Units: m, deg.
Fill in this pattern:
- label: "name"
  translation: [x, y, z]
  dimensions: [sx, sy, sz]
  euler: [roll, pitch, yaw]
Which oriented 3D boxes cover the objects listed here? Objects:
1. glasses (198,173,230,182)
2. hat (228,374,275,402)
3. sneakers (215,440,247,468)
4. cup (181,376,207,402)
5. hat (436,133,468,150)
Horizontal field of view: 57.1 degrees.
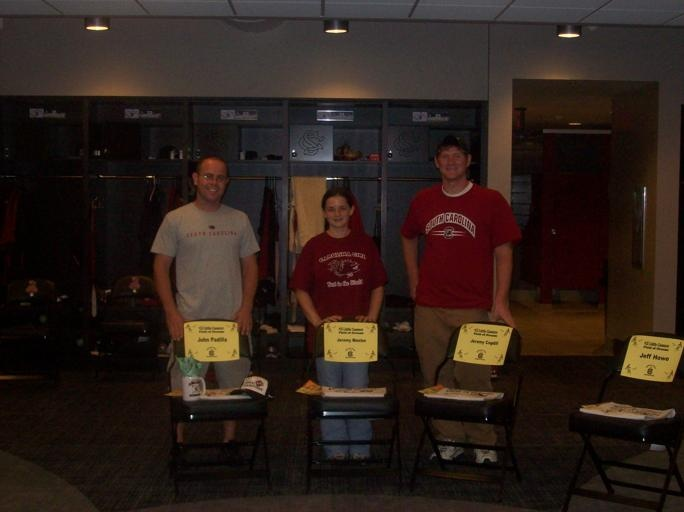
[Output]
- label: "glasses"
  translation: [-0.848, -0.518, 4.184]
  dimensions: [0.175, 0.050, 0.079]
  euler: [-3, 10, -17]
- label: "hat"
  translation: [-0.578, 0.839, 3.978]
  dimensions: [0.203, 0.052, 0.148]
  euler: [2, 13, 3]
- label: "sneakers"
  translation: [-0.752, 1.319, 4.213]
  dimensions: [0.122, 0.142, 0.348]
  euler: [8, -18, -24]
- label: "cup"
  translation: [-0.915, 0.812, 3.872]
  dimensions: [0.178, 0.144, 0.108]
  euler: [1, -4, -19]
- label: "hat"
  translation: [0.724, -0.729, 4.110]
  dimensions: [0.187, 0.098, 0.152]
  euler: [1, 9, 5]
